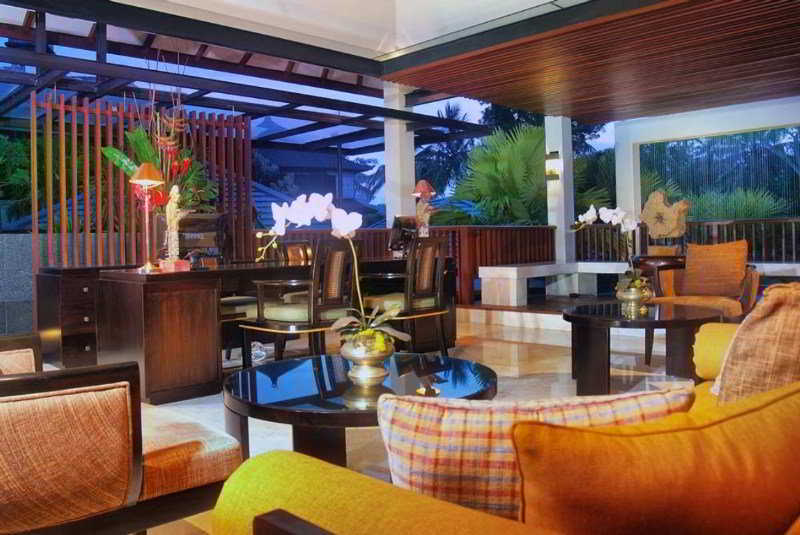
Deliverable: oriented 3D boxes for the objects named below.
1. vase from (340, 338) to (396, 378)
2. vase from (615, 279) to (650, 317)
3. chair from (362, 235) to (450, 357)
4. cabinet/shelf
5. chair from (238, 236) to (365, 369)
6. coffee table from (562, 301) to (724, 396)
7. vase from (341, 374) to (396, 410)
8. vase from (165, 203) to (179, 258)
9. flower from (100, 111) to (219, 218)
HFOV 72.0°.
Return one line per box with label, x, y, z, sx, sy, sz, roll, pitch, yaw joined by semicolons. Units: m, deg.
vase;-0.160;0.400;2.474;0.207;0.108;0.181;0;-4;-3
vase;1.815;0.237;4.281;0.318;0.294;0.300;0;2;15
chair;-0.065;0.385;5.457;0.899;1.130;0.974;-5;-3;26
cabinet/shelf;-1.758;0.501;5.301;1.557;0.905;2.301;3;2;42
chair;-0.968;0.376;4.901;1.029;1.098;0.975;-4;-1;8
coffee table;1.829;0.516;4.142;0.970;0.458;0.880;-4;6;-27
vase;-0.140;0.499;2.318;0.182;0.109;0.194;2;-4;-40
vase;-1.823;-0.267;4.411;0.110;0.424;0.265;-5;3;-22
flower;-2.384;-0.946;5.895;0.912;0.643;1.277;23;19;39
